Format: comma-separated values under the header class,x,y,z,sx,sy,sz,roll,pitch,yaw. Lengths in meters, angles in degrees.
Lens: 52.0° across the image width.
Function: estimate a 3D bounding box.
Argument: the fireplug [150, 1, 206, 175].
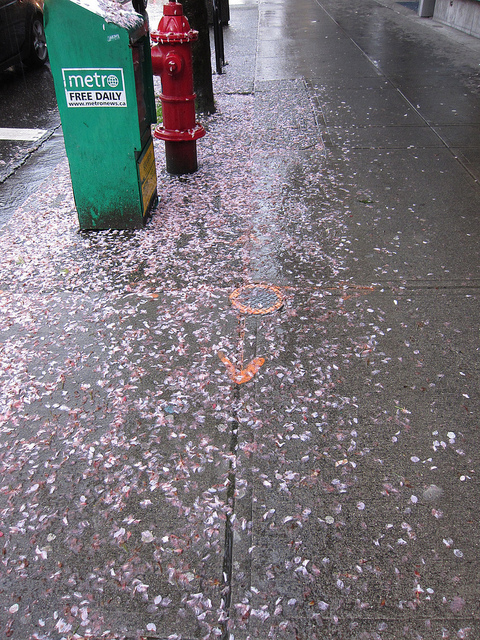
class,x,y,z,sx,sy,sz,roll,pitch,yaw
fireplug,-0.658,-2.302,5.066,0.518,1.619,0.538,-4,32,-3
